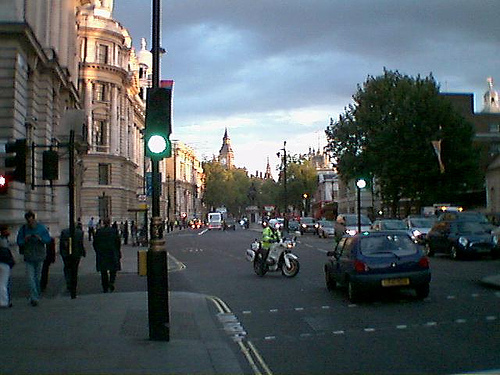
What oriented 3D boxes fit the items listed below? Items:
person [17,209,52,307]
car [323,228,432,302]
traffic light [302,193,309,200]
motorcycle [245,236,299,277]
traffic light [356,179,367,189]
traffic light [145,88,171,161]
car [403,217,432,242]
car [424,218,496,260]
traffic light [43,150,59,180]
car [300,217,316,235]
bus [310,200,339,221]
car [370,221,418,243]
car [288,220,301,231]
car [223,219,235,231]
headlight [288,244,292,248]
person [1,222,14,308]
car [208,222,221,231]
[{"bbox_3d":[-5.548,1.759,17.108,0.749,2.292,0.853,0,-2,0],"label":"person"},{"bbox_3d":[3.123,1.922,18.155,1.600,1.176,2.516,-2,5,-11],"label":"car"},{"bbox_3d":[6.085,0.926,75.107,1.032,0.449,1.043,0,-1,-5],"label":"traffic light"},{"bbox_3d":[0.777,2.324,23.414,0.856,1.434,2.485,11,-10,-38],"label":"motorcycle"},{"bbox_3d":[5.322,-0.200,32.287,0.434,0.507,1.535,-1,-3,7],"label":"traffic light"},{"bbox_3d":[-1.865,-1.289,13.602,0.504,1.487,0.426,0,-2,-12],"label":"traffic light"},{"bbox_3d":[9.320,2.200,37.216,1.076,0.908,1.876,-1,-1,-10],"label":"car"},{"bbox_3d":[8.536,2.028,27.452,1.223,0.928,2.657,-1,-6,-9],"label":"car"},{"bbox_3d":[-5.656,-0.643,19.068,0.417,0.799,0.381,0,-2,-11],"label":"traffic light"},{"bbox_3d":[5.428,3.631,63.473,1.272,1.284,2.347,-1,-7,-2],"label":"car"},{"bbox_3d":[9.830,2.927,88.945,2.153,2.503,8.155,-1,-4,-4],"label":"bus"},{"bbox_3d":[7.114,2.261,34.895,1.116,0.933,1.863,-2,-6,-5],"label":"car"},{"bbox_3d":[4.930,4.262,76.043,1.214,0.963,2.061,-1,-5,0],"label":"car"},{"bbox_3d":[-2.904,5.023,92.288,1.238,1.174,2.348,0,-4,-3],"label":"car"},{"bbox_3d":[1.344,1.955,22.737,0.131,0.124,0.284,0,-3,3],"label":"headlight"},{"bbox_3d":[-5.984,1.913,16.611,0.294,1.987,0.597,1,-2,-20],"label":"person"},{"bbox_3d":[-4.964,5.284,94.427,1.632,0.953,1.201,0,-3,3],"label":"car"}]
